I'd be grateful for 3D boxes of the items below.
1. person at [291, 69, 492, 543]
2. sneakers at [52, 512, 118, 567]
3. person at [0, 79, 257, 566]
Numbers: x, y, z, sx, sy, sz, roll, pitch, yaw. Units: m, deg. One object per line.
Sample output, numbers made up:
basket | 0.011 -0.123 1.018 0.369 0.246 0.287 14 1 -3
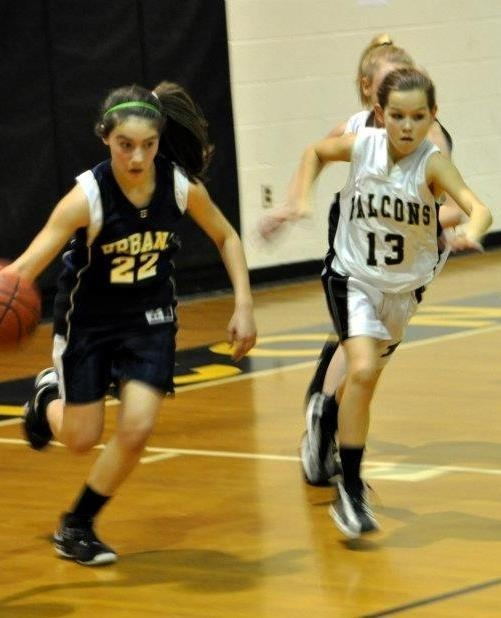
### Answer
person | 0.364 -0.014 1.757 0.429 1.233 0.656 -4 3 3
sneakers | -0.415 0.590 1.693 0.223 0.128 0.076 -2 -6 38
person | -0.309 0.000 1.688 0.643 1.258 0.590 -4 3 -1
